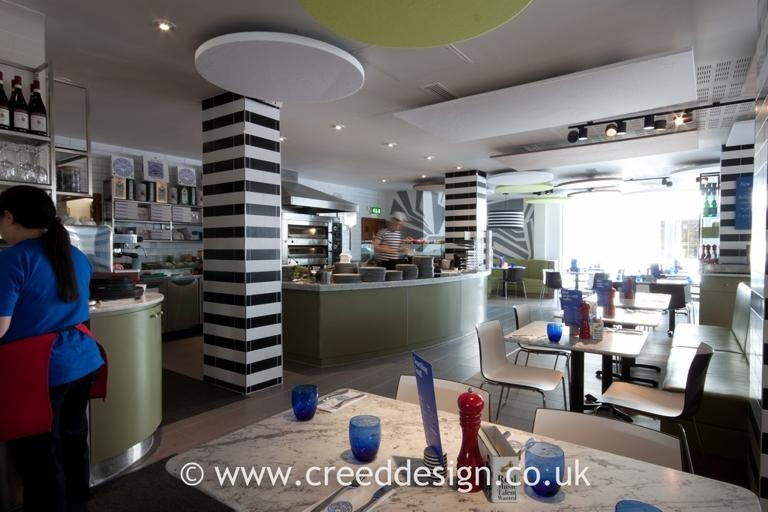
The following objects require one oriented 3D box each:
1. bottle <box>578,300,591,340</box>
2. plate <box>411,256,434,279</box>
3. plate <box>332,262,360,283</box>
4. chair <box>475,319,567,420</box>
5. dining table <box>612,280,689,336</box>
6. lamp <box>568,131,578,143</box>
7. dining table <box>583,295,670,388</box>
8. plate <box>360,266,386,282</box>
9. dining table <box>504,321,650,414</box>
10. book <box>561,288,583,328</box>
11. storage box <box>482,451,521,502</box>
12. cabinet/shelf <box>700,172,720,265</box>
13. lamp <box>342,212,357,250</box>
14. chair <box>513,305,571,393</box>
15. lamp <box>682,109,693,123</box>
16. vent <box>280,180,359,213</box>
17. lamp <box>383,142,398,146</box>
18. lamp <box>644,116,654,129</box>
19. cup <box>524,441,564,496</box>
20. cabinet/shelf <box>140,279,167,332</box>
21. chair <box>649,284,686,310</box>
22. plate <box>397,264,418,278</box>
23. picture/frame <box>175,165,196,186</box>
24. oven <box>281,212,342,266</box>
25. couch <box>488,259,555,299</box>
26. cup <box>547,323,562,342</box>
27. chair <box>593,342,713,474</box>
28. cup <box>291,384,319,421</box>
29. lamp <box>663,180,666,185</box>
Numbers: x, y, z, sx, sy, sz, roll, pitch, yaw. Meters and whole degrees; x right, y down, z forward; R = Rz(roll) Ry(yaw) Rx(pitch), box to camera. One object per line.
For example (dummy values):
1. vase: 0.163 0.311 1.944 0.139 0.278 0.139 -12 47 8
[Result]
1. bottle: 1.931 0.610 4.483 0.120 0.309 0.238 6 12 21
2. plate: 0.656 0.169 7.474 0.342 0.276 0.337 0 -1 24
3. plate: -0.551 0.221 6.876 0.384 0.215 0.520 0 11 -4
4. chair: 1.321 1.085 4.514 0.750 0.775 0.555 4 7 40
5. dining table: 3.716 0.701 6.551 0.655 0.316 1.077 1 5 31
6. lamp: 2.574 -1.618 6.379 0.146 0.084 0.196 2 9 26
7. dining table: 2.721 0.967 5.326 0.649 0.561 1.187 1 5 28
8. plate: -0.174 0.263 6.843 0.259 0.140 0.257 -1 -2 30
9. dining table: 1.936 1.022 4.697 1.129 1.033 1.131 2 5 34
10. book: 1.849 0.525 4.643 0.229 0.374 0.039 6 -9 -7
11. storage box: 0.607 1.124 2.520 0.211 0.269 0.286 0 -4 7
12. cabinet/shelf: 6.227 -0.693 8.995 0.361 1.677 0.462 1 12 38
13. lamp: -0.869 -0.544 12.098 0.418 1.160 0.370 6 18 19
14. chair: 1.756 1.040 5.248 0.666 0.888 0.581 7 -5 19
15. lamp: 3.909 -1.791 6.047 0.097 0.120 0.523 9 14 34
16. vent: -1.557 -1.114 9.331 1.156 0.686 1.914 8 13 31
17. lamp: 0.117 -1.887 7.944 0.233 0.056 0.257 1 11 -3
18. lamp: 3.314 -1.679 5.862 0.129 0.130 0.156 8 13 29
19. cup: 0.850 1.108 2.467 0.220 0.223 0.174 3 12 11
20. cabinet/shelf: -3.480 0.883 7.209 0.331 0.961 0.886 -5 13 -26
21. chair: 4.418 0.621 7.279 0.461 0.529 0.511 2 4 45
22. plate: 0.364 0.213 7.368 0.247 0.171 0.243 -1 2 -42
23. picture/frame: -3.671 -1.476 8.662 0.050 0.451 0.439 -3 -4 35
24. oven: -1.672 -0.289 10.131 0.677 1.107 1.633 0 1 42
25. couch: 3.928 0.581 13.742 1.601 0.756 0.784 0 17 33
26. cup: 1.568 0.704 4.386 0.158 0.173 0.158 -1 -2 0
27. chair: 2.317 1.262 4.139 0.874 1.062 0.745 5 7 29
28. cup: -0.496 0.923 2.955 0.173 0.178 0.172 2 -4 0
29. lamp: 6.559 -1.732 11.016 0.095 0.086 0.066 11 22 39
